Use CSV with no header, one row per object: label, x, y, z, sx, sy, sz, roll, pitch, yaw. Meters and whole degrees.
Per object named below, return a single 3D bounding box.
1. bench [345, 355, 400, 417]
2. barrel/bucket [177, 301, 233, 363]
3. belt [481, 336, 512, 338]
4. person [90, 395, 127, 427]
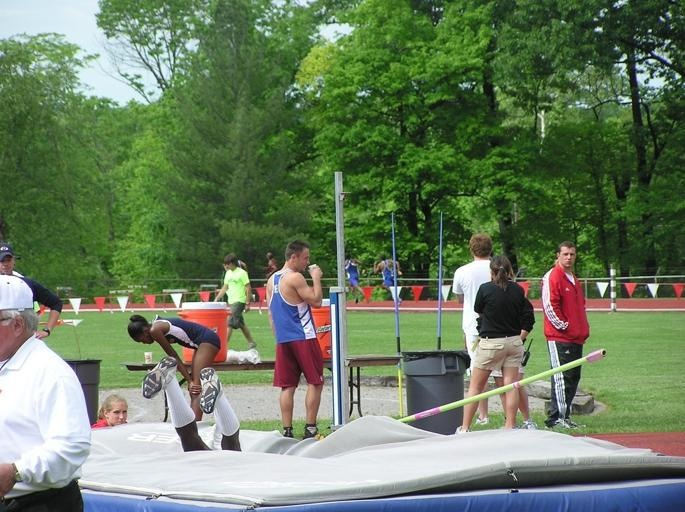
bench,0.989,3.442,32.298,1.949,1.565,1.601,0,-9,-4
barrel/bucket,-3.955,2.144,33.893,1.723,1.509,1.595,-2,-5,0
belt,3.864,2.072,30.509,0.649,0.070,0.118,-1,-4,-2
person,-5.929,3.980,30.604,0.756,0.662,0.465,10,-13,-36
